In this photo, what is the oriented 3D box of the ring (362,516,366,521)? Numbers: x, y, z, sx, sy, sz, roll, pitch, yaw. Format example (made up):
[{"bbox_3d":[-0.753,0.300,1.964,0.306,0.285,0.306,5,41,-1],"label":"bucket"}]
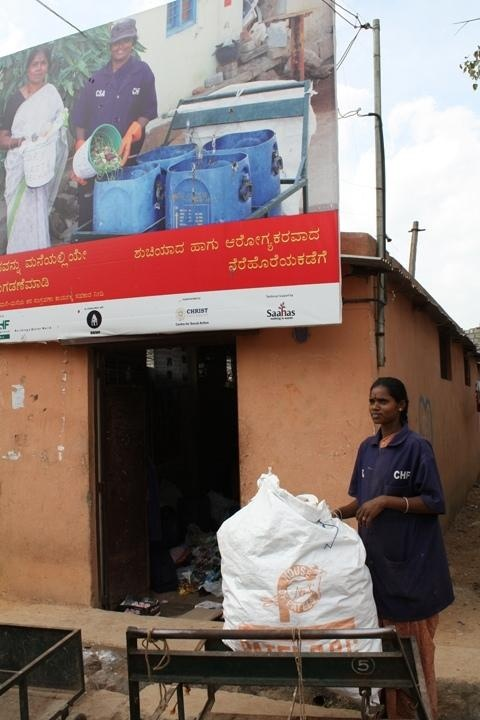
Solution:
[{"bbox_3d":[0.501,0.641,3.460,0.014,0.013,0.020,-7,-27,-26],"label":"ring"}]

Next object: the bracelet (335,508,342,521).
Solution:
[{"bbox_3d":[0.431,0.679,3.719,0.025,0.040,0.033,4,-3,7],"label":"bracelet"}]

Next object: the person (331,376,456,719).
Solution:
[{"bbox_3d":[0.651,0.794,3.631,0.414,1.336,0.509,-2,0,-22],"label":"person"}]

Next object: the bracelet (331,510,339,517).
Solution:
[{"bbox_3d":[0.411,0.670,3.704,0.019,0.032,0.029,-4,-5,-14],"label":"bracelet"}]
